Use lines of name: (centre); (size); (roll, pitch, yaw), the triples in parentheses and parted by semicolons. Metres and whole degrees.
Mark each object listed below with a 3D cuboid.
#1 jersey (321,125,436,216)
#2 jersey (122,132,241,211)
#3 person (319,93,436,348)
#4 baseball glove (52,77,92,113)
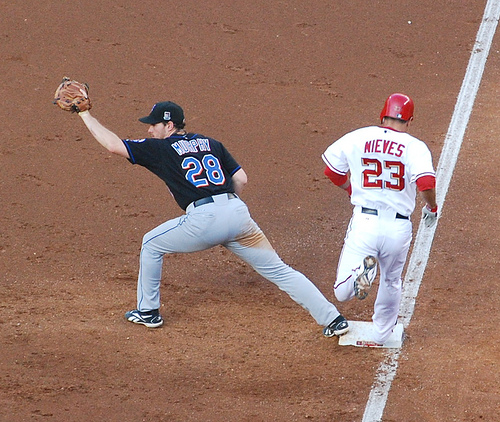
jersey: (1.187, -0.443, 7.347); (0.863, 0.803, 0.882); (8, 23, 15)
jersey: (-0.613, -0.427, 7.700); (0.931, 0.701, 0.499); (1, 29, 12)
person: (1.168, 0.181, 7.345); (1.069, 2.345, 0.836); (-14, 31, -12)
baseball glove: (-1.656, -1.072, 7.586); (0.304, 0.296, 0.304); (-8, 28, -4)
